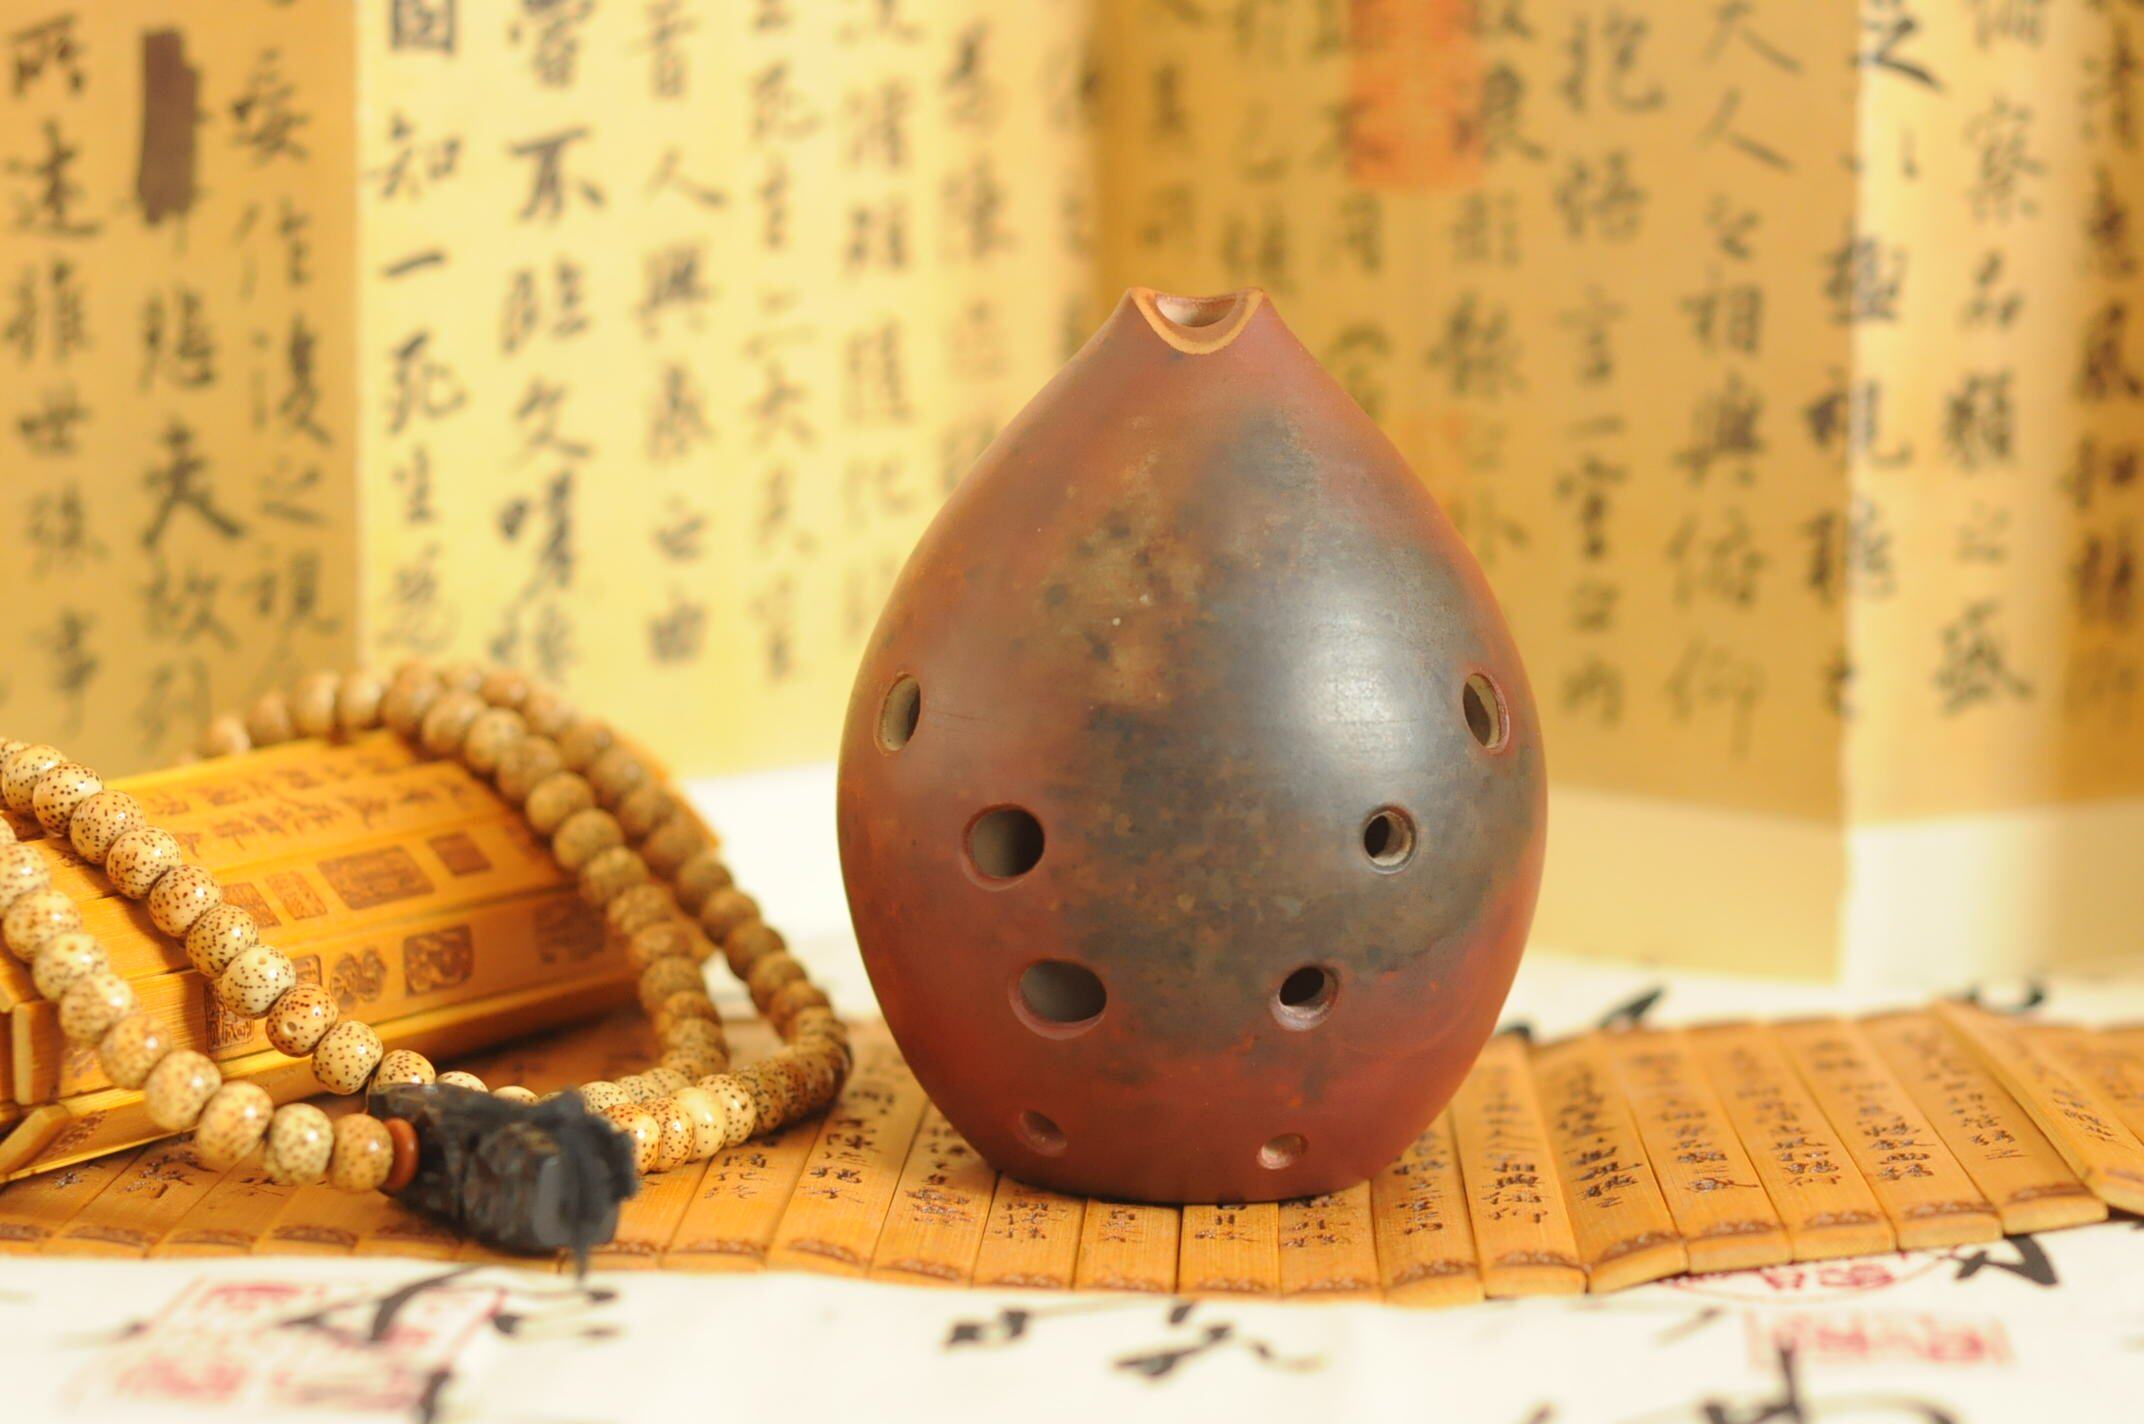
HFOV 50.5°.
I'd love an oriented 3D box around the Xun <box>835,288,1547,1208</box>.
[{"bbox_3d":[0.086,0.040,1.884,0.577,0.797,0.580,0,0,3],"label":"Xun"}]
